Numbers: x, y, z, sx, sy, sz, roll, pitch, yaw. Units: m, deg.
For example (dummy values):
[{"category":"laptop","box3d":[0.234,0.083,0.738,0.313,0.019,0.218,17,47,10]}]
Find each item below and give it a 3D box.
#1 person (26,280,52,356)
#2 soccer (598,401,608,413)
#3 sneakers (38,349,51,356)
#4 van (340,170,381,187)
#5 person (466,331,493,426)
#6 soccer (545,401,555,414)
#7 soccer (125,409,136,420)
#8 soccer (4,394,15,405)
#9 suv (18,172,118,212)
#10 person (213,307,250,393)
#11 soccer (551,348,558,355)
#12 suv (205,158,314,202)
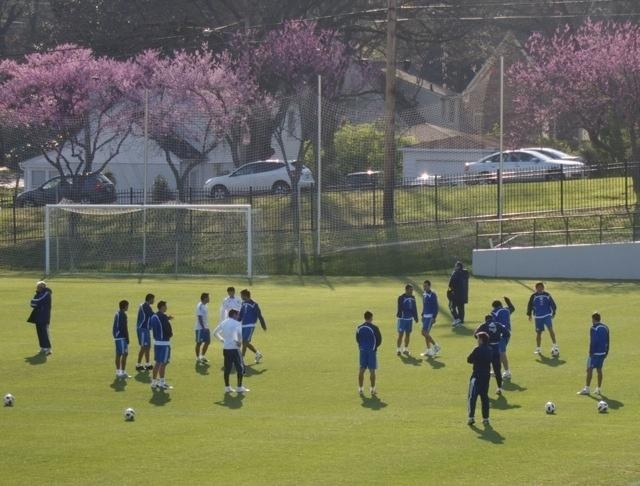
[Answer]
[{"category":"person","box3d":[-10.227,2.751,52.685,0.788,2.620,1.518,-3,3,-12]},{"category":"soccer","box3d":[9.541,5.575,48.848,0.262,0.346,0.349,-2,5,16]},{"category":"sneakers","box3d":[-9.934,3.948,52.146,0.444,0.256,0.254,-3,3,-11]},{"category":"van","box3d":[2.449,-3.284,75.250,2.451,0.873,0.867,-1,7,36]},{"category":"person","box3d":[5.349,4.544,48.621,0.850,3.070,1.019,-2,3,6]},{"category":"soccer","box3d":[7.740,5.596,48.868,0.282,0.360,0.357,-2,-5,0]},{"category":"soccer","box3d":[-6.362,5.744,48.463,0.350,0.395,0.358,2,18,-5]},{"category":"soccer","box3d":[-10.615,5.339,49.139,0.379,0.388,0.541,-3,3,-12]},{"category":"suv","box3d":[-12.965,-2.785,74.395,4.921,1.799,2.318,1,1,7]},{"category":"person","box3d":[-3.060,3.751,49.932,0.935,2.900,0.587,-3,3,-7]},{"category":"soccer","box3d":[8.493,3.957,52.423,0.252,0.257,0.190,-3,11,-4]},{"category":"suv","box3d":[-3.209,-3.699,74.660,5.182,1.871,2.422,1,0,7]}]
